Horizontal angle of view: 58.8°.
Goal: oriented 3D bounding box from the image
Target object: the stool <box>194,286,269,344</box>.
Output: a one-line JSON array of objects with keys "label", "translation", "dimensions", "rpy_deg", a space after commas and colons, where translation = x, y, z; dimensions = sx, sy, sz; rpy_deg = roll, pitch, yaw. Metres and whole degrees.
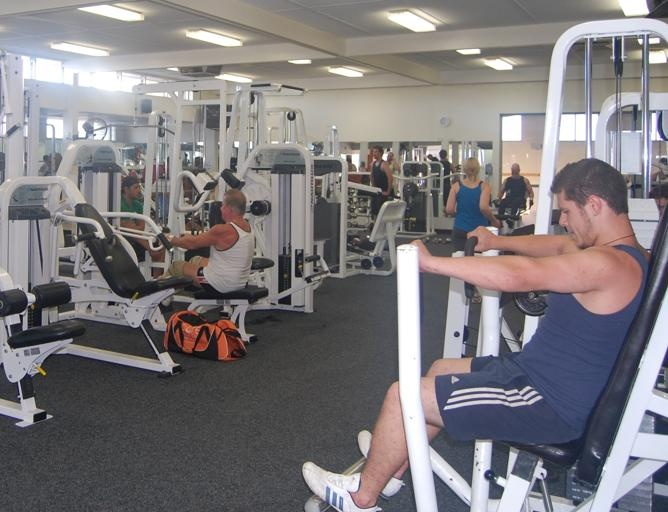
[{"label": "stool", "translation": [-0.917, 0.430, 5.057], "dimensions": [0.538, 0.248, 0.548], "rpy_deg": [3, 4, 13]}]

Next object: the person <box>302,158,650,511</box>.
[{"label": "person", "translation": [0.476, 0.204, 2.761], "dimensions": [1.520, 1.551, 0.944], "rpy_deg": [2, 7, 17]}]

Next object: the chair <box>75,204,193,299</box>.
[{"label": "chair", "translation": [-1.511, -0.049, 4.367], "dimensions": [0.744, 0.679, 0.442], "rpy_deg": [-3, 11, -21]}]

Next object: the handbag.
[{"label": "handbag", "translation": [-1.034, 0.624, 4.655], "dimensions": [0.674, 0.296, 0.230], "rpy_deg": [7, 12, 29]}]

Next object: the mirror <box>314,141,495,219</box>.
[{"label": "mirror", "translation": [1.052, -0.847, 8.058], "dimensions": [2.460, 1.059, 1.525], "rpy_deg": [4, 5, 24]}]

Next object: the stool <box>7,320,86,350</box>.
[{"label": "stool", "translation": [-1.708, 0.470, 3.497], "dimensions": [0.402, 0.113, 0.199], "rpy_deg": [-8, 14, -39]}]

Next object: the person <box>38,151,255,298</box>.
[{"label": "person", "translation": [-1.281, -0.112, 5.069], "dimensions": [1.099, 1.232, 0.706], "rpy_deg": [2, 6, 19]}]

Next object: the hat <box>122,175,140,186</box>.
[{"label": "hat", "translation": [-2.322, -0.856, 6.697], "dimensions": [0.149, 0.113, 0.126], "rpy_deg": [4, 4, 17]}]
